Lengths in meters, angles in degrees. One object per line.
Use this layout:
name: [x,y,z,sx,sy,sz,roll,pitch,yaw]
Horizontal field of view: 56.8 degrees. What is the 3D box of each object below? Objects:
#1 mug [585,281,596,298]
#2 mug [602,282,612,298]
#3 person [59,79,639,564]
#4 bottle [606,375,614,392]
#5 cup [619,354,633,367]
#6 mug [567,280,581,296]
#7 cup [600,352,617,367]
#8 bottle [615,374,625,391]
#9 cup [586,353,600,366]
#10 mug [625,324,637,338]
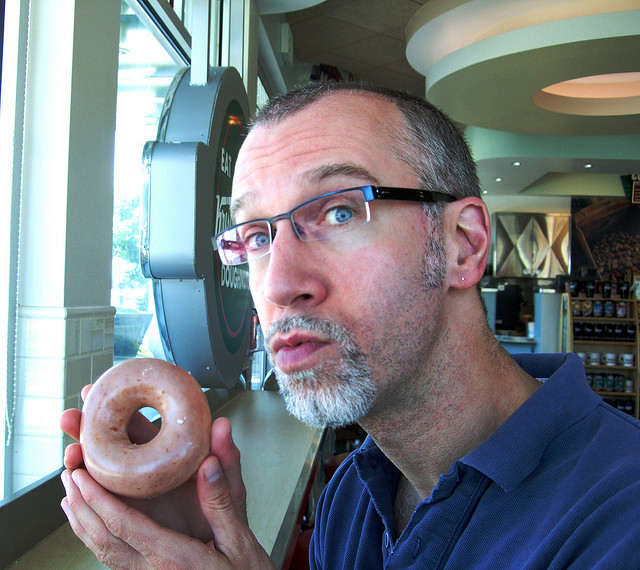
mug: [3.036,0.053,6.610,0.114,0.161,0.147,-3,-2,25]
mug: [3.200,0.057,6.558,0.097,0.152,0.074,-3,-2,26]
person: [0.110,0.100,1.248,0.999,1.116,0.484,-3,-1,14]
bottle: [3.145,1.069,6.380,0.095,0.199,0.101,2,-6,0]
cup: [3.326,0.812,6.406,0.091,0.120,0.112,0,-9,3]
mug: [2.842,0.040,6.593,0.144,0.307,0.156,0,2,18]
cup: [3.165,0.799,6.475,0.108,0.163,0.160,1,-8,8]
bottle: [3.246,1.060,6.387,0.105,0.212,0.113,3,-7,0]
cup: [3.007,0.808,6.478,0.105,0.136,0.123,0,-6,5]
mug: [3.376,0.498,6.406,0.105,0.135,0.066,-3,-2,31]
